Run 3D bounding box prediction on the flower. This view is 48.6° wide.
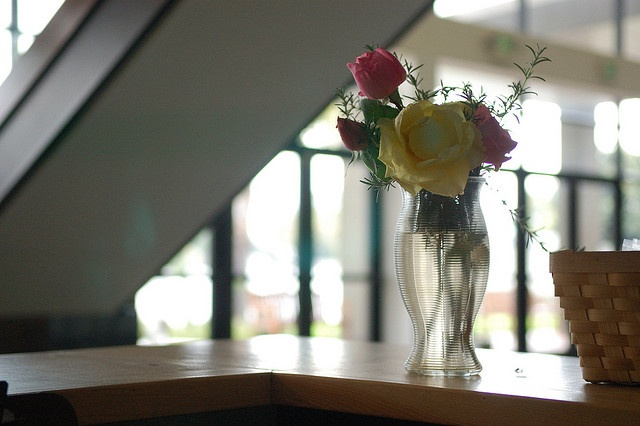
[{"bbox_3d":[0.274,-0.025,1.629,0.486,0.712,0.293,3,-12,1],"label":"flower"}]
